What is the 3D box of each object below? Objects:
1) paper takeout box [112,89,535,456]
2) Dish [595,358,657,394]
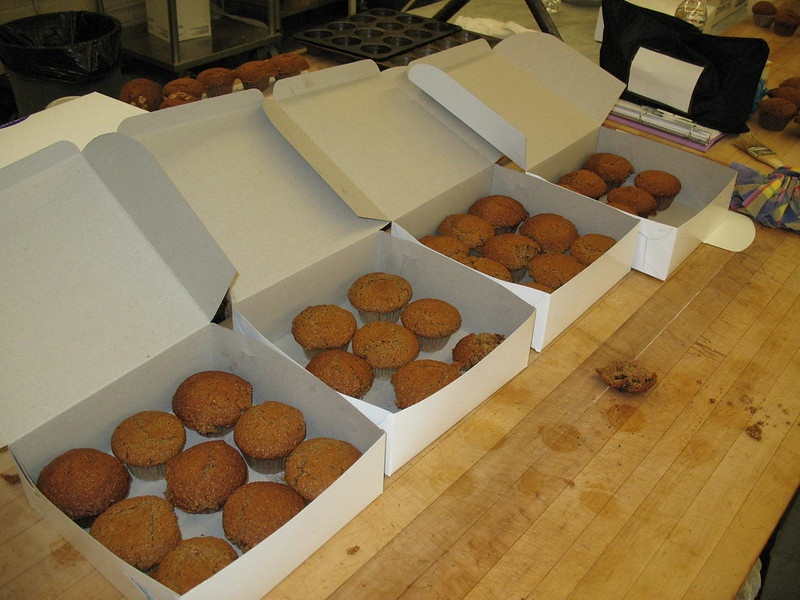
[{"bbox_3d":[-0.340,-0.117,2.011,0.658,0.458,1.164,-30,52,-33],"label":"paper takeout box"},{"bbox_3d":[0.700,0.212,1.930,0.119,0.043,0.108,-13,27,-31],"label":"Dish"}]
